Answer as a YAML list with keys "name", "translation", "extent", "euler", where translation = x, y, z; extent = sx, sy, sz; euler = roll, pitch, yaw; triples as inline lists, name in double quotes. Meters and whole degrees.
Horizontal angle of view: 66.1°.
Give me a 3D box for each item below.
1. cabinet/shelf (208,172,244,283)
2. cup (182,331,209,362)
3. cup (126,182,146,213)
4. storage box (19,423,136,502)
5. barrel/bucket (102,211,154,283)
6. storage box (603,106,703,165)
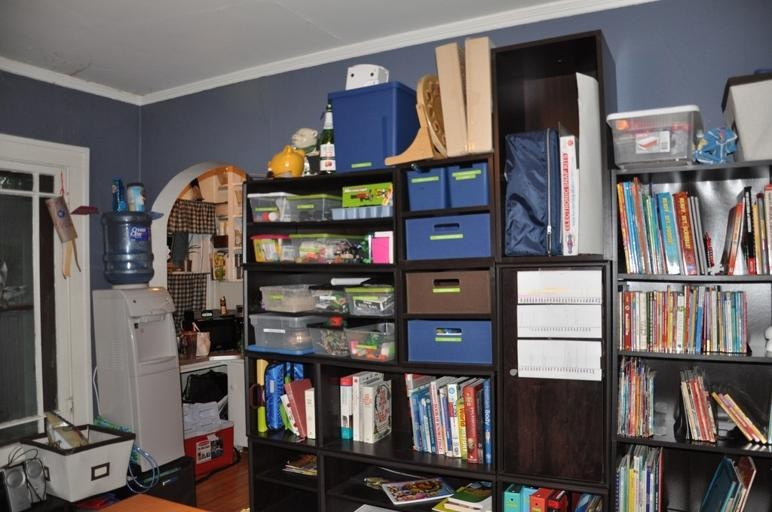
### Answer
- name: "cabinet/shelf"
  translation: [-2.036, -0.365, 7.546]
  extent: [0.395, 1.349, 0.774]
  euler: [-3, 1, -26]
- name: "cup"
  translation: [-1.782, 0.840, 5.532]
  extent: [0.253, 0.267, 0.309]
  euler: [-3, 1, -20]
- name: "cup"
  translation: [-2.031, -0.469, 4.819]
  extent: [0.124, 0.246, 0.205]
  euler: [-3, 1, -27]
- name: "storage box"
  translation: [-2.092, 1.427, 4.087]
  extent: [0.513, 0.384, 0.601]
  euler: [0, -3, 23]
- name: "barrel/bucket"
  translation: [-2.082, -0.057, 4.773]
  extent: [0.380, 0.605, 0.241]
  euler: [-3, 1, -16]
- name: "storage box"
  translation: [1.483, -0.659, 3.295]
  extent: [0.342, 0.226, 0.439]
  euler: [1, -2, 22]
